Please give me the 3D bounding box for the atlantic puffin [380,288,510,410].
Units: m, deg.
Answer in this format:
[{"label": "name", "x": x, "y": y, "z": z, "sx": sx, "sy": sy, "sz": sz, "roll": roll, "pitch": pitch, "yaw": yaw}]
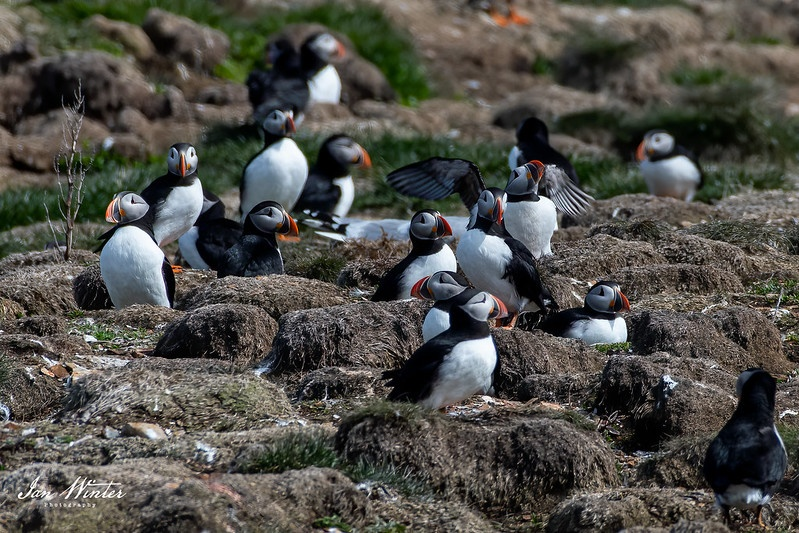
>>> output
[{"label": "atlantic puffin", "x": 0.456, "y": 0.971, "z": 13.849, "sx": 1.485, "sy": 1.411, "sz": 0.915, "roll": -2, "pitch": -4, "yaw": 31}]
